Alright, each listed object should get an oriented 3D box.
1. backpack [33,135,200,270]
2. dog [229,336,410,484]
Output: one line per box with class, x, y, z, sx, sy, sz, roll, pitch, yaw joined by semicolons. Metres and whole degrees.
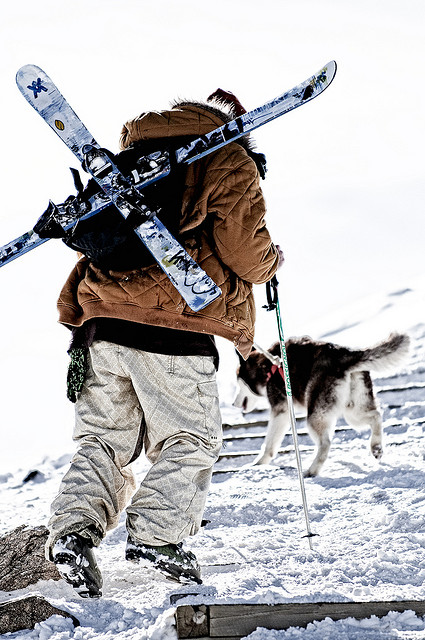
backpack;-0.381;-0.518;3.725;0.547;0.739;0.791;-9;14;-24
dog;0.810;0.701;6.871;0.602;1.089;2.000;14;-12;-30
